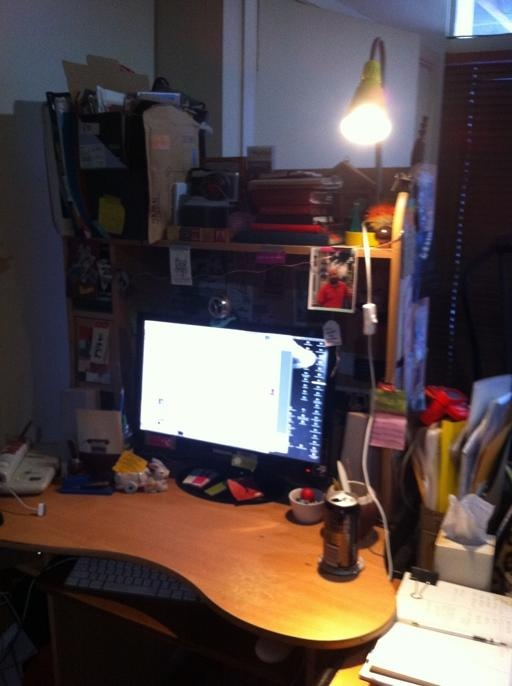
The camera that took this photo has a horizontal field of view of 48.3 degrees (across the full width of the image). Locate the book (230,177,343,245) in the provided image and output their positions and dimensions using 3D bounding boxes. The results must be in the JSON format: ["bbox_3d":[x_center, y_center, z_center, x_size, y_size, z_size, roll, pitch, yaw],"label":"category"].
[{"bbox_3d":[0.071,-0.316,1.365,0.259,0.153,0.145,4,13,10],"label":"book"}]

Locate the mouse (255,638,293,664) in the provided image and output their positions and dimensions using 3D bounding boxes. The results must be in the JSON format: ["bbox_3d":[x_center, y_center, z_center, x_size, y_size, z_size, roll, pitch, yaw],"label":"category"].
[{"bbox_3d":[0.028,0.544,1.011,0.060,0.014,0.051,6,14,19],"label":"mouse"}]

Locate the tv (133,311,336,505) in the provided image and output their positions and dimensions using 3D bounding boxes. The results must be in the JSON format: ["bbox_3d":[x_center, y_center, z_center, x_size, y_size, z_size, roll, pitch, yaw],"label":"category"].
[{"bbox_3d":[-0.047,0.165,1.413,0.402,0.339,0.156,5,6,22],"label":"tv"}]
